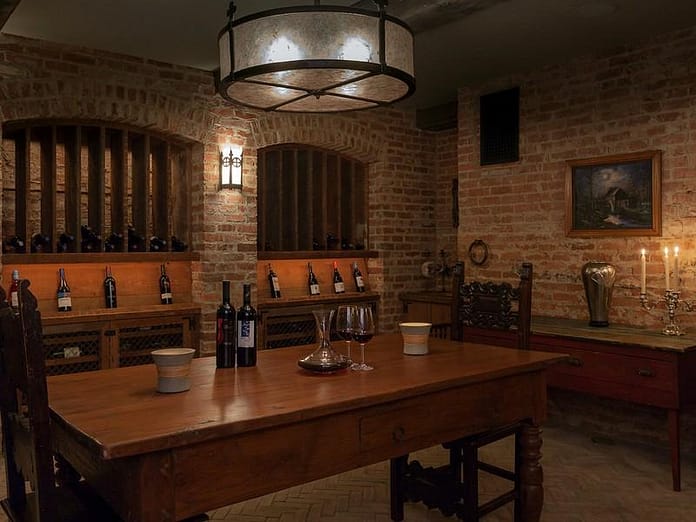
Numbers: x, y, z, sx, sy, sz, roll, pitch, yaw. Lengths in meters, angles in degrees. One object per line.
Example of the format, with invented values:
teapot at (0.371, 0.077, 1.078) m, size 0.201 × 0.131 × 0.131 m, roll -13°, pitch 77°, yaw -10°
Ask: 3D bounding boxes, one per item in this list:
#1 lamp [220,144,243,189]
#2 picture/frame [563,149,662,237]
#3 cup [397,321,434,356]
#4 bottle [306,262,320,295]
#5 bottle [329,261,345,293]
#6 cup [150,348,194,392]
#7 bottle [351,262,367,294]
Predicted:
lamp at (-1.211, -0.989, 5.720) m, size 0.271 × 0.460 × 0.149 m, roll -2°, pitch 7°, yaw -22°
picture/frame at (2.547, -0.647, 5.233) m, size 0.874 × 0.885 × 0.066 m, roll -3°, pitch -5°, yaw 38°
cup at (0.404, 0.465, 3.378) m, size 0.187 × 0.149 × 0.182 m, roll 0°, pitch -3°, yaw 0°
bottle at (-0.415, 0.203, 6.471) m, size 0.144 × 0.349 × 0.302 m, roll 0°, pitch 6°, yaw -3°
bottle at (-0.117, 0.186, 6.712) m, size 0.161 × 0.359 × 0.304 m, roll 0°, pitch 6°, yaw -2°
cup at (-0.802, 0.484, 2.554) m, size 0.207 × 0.167 × 0.197 m, roll 2°, pitch -7°, yaw 0°
bottle at (0.132, 0.190, 6.930) m, size 0.174 × 0.355 × 0.243 m, roll 0°, pitch 6°, yaw -1°
